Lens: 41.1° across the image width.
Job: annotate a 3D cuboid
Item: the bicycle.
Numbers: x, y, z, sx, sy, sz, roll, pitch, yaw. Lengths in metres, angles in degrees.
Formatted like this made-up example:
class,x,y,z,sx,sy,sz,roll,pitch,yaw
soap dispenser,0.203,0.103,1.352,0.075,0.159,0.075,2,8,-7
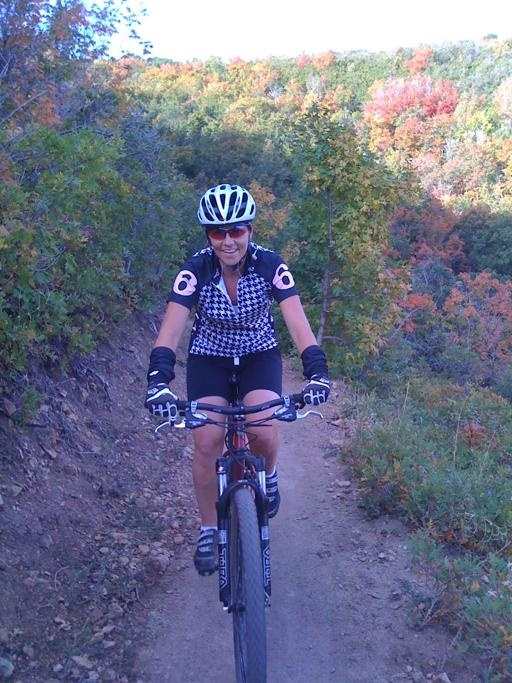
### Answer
class,x,y,z,sx,sy,sz,roll,pitch,yaw
bicycle,-0.084,1.234,3.950,0.772,1.836,1.260,-1,11,-6

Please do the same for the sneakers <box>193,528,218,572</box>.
class,x,y,z,sx,sy,sz,roll,pitch,yaw
sneakers,-0.323,1.406,4.553,0.119,0.335,0.172,1,55,-3

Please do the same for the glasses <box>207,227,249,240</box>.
class,x,y,z,sx,sy,sz,roll,pitch,yaw
glasses,-0.188,-0.701,4.412,0.246,0.094,0.077,0,11,-3

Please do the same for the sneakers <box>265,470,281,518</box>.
class,x,y,z,sx,sy,sz,roll,pitch,yaw
sneakers,0.118,1.106,4.930,0.144,0.257,0.377,-2,31,4

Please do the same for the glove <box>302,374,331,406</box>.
class,x,y,z,sx,sy,sz,roll,pitch,yaw
glove,0.359,0.288,4.078,0.083,0.186,0.146,-2,-3,30

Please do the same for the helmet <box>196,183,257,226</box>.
class,x,y,z,sx,sy,sz,roll,pitch,yaw
helmet,-0.202,-0.918,4.530,0.400,0.233,0.539,-5,18,1
